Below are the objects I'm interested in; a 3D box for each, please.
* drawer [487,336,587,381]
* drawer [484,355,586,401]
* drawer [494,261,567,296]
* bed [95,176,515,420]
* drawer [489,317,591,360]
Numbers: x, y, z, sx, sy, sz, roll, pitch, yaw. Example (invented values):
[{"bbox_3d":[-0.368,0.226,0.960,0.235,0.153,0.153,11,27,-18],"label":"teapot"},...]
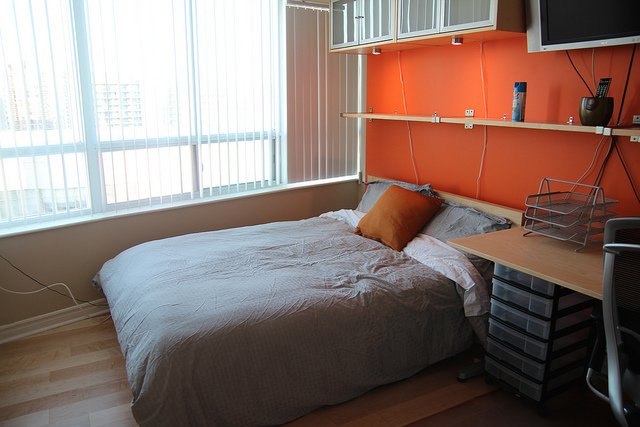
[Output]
[{"bbox_3d":[1.465,0.972,2.966,0.332,0.083,0.326,-6,14,-30],"label":"drawer"},{"bbox_3d":[1.468,1.099,2.932,0.329,0.083,0.325,-9,16,-32],"label":"drawer"},{"bbox_3d":[1.344,0.422,2.834,0.427,0.127,0.090,9,22,33],"label":"drawer"},{"bbox_3d":[-0.036,0.577,3.166,2.505,0.843,1.788,-11,29,-26],"label":"bed"},{"bbox_3d":[1.478,0.820,2.884,0.346,0.086,0.357,-6,14,-29],"label":"drawer"}]
